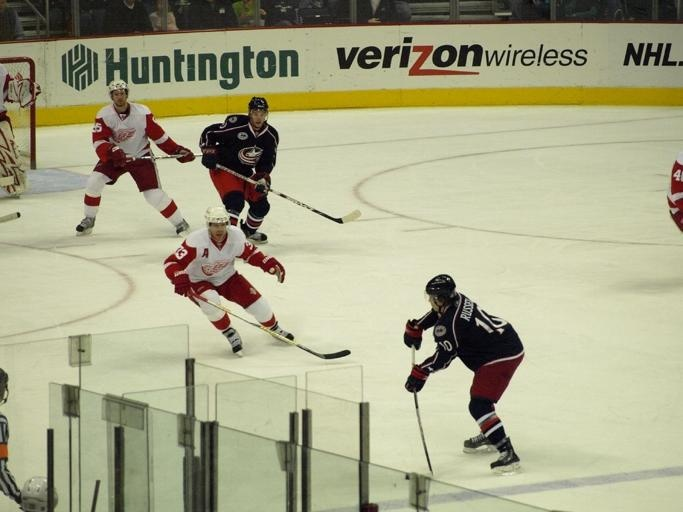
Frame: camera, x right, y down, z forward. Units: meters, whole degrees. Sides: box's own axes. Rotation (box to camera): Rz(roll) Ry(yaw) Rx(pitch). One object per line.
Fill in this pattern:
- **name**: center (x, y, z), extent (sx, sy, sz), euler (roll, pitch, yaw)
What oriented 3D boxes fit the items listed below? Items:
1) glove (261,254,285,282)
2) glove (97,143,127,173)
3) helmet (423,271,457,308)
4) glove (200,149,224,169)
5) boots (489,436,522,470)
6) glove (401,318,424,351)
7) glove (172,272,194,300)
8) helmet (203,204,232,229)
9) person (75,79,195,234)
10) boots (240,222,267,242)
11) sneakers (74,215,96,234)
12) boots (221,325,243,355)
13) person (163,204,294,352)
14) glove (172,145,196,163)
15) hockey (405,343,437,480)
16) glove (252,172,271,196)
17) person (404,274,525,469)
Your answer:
- **glove**: center (-0.440, 0.090, 8.466), extent (0.140, 0.186, 0.067), euler (-13, 21, 33)
- **glove**: center (-1.937, -0.888, 10.379), extent (0.218, 0.230, 0.220), euler (-3, 13, -17)
- **helmet**: center (0.602, 0.228, 7.055), extent (0.223, 0.204, 0.176), euler (-6, 8, 9)
- **glove**: center (-1.081, -0.856, 10.189), extent (0.126, 0.174, 0.146), euler (-1, 12, -8)
- **boots**: center (0.952, 1.184, 6.754), extent (0.203, 0.188, 0.096), euler (-20, -8, 31)
- **glove**: center (0.454, 0.491, 7.385), extent (0.137, 0.176, 0.181), euler (2, 11, -4)
- **glove**: center (-1.024, 0.208, 8.107), extent (0.093, 0.201, 0.200), euler (6, 13, 22)
- **helmet**: center (-0.813, -0.273, 8.131), extent (0.142, 0.151, 0.233), euler (0, 12, -3)
- **person**: center (-1.803, -0.888, 10.541), extent (1.023, 1.440, 0.462), euler (-2, 13, -12)
- **boots**: center (-0.726, -0.212, 10.251), extent (0.237, 0.158, 0.076), euler (17, 54, -18)
- **sneakers**: center (-2.240, -0.274, 10.688), extent (0.124, 0.157, 0.188), euler (11, 32, 10)
- **boots**: center (-0.699, 0.599, 8.158), extent (0.085, 0.248, 0.105), euler (-27, 10, 6)
- **person**: center (-0.768, 0.176, 8.250), extent (0.867, 1.000, 0.664), euler (-9, 8, -9)
- **glove**: center (-1.355, -0.976, 10.691), extent (0.184, 0.138, 0.057), euler (34, 43, -14)
- **hockey**: center (0.493, 0.959, 7.038), extent (0.088, 0.061, 0.786), euler (-4, 56, -4)
- **glove**: center (-0.627, -0.654, 10.256), extent (0.054, 0.166, 0.164), euler (-10, 48, 18)
- **person**: center (0.765, 0.715, 7.170), extent (0.797, 1.135, 0.740), euler (-3, 4, 4)
